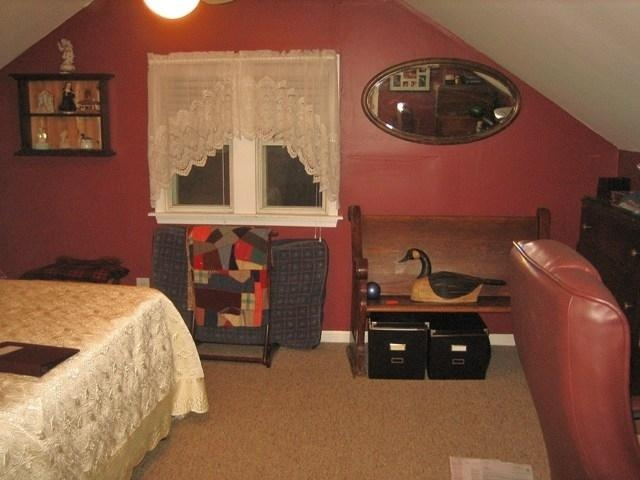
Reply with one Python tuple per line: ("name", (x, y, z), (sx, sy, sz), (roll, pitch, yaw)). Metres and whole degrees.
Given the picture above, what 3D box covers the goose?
("goose", (0.950, 0.271, 4.534), (0.840, 0.520, 0.331), (2, -4, 7))
